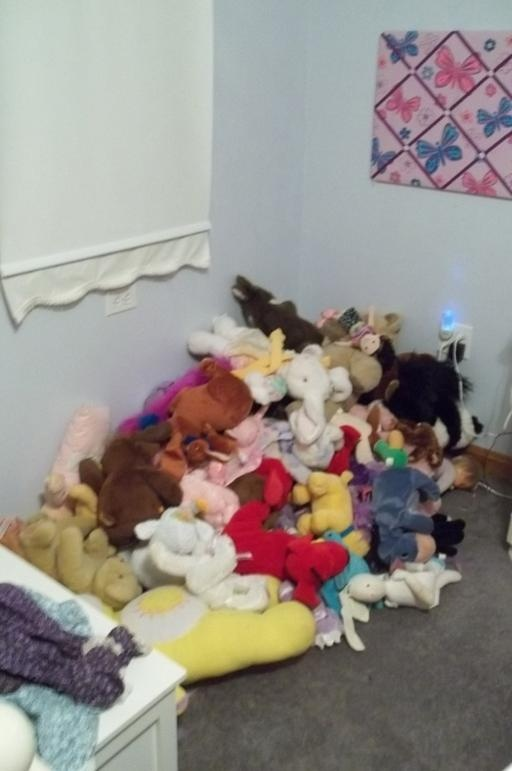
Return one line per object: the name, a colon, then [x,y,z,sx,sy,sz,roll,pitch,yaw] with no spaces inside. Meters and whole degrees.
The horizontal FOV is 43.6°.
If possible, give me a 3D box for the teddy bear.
teddy bear: [0.064,0.019,2.006,1.331,0.639,0.639,-7,20,-25]
